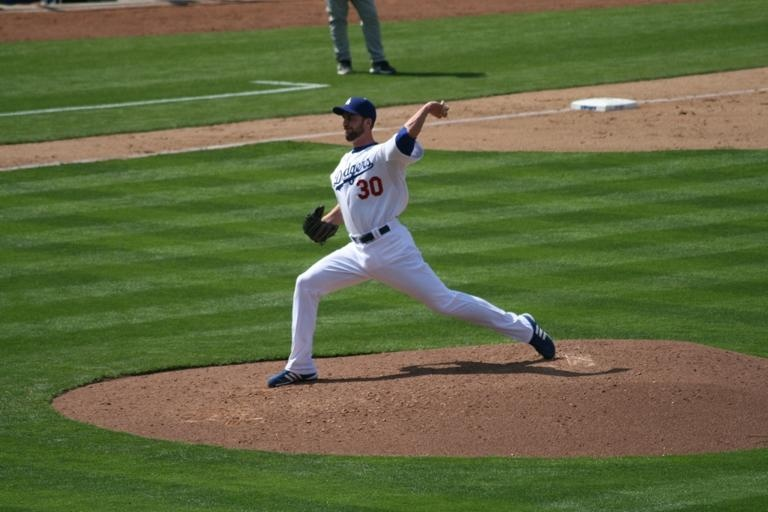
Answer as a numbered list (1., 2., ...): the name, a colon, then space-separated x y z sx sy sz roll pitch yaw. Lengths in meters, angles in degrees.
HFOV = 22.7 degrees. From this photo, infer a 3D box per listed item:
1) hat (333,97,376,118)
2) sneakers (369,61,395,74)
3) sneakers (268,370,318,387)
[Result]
1. hat: -0.360 -1.913 24.781 0.537 0.202 0.323 4 4 -13
2. sneakers: -0.010 -3.410 34.862 0.469 0.153 0.210 1 7 18
3. sneakers: -1.203 1.608 24.825 0.708 0.207 0.208 1 5 -11
